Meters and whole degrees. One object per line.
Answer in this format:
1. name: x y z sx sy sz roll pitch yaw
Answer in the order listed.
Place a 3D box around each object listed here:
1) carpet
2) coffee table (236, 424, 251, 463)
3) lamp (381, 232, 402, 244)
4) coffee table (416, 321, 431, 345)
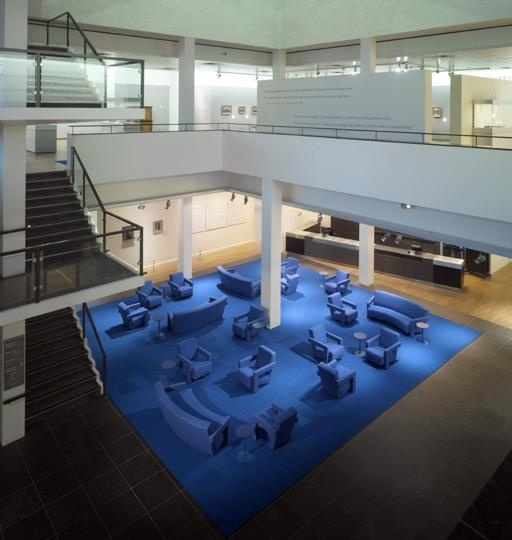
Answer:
1. carpet: 0.200 1.482 12.684 10.151 0.693 9.616 -14 21 -40
2. coffee table: -0.200 2.944 7.477 0.258 0.644 0.781 0 15 -1
3. lamp: 6.165 -1.474 19.220 0.666 0.268 0.656 -29 40 -35
4. coffee table: 4.721 1.783 11.969 0.443 0.518 0.442 -18 20 -41
